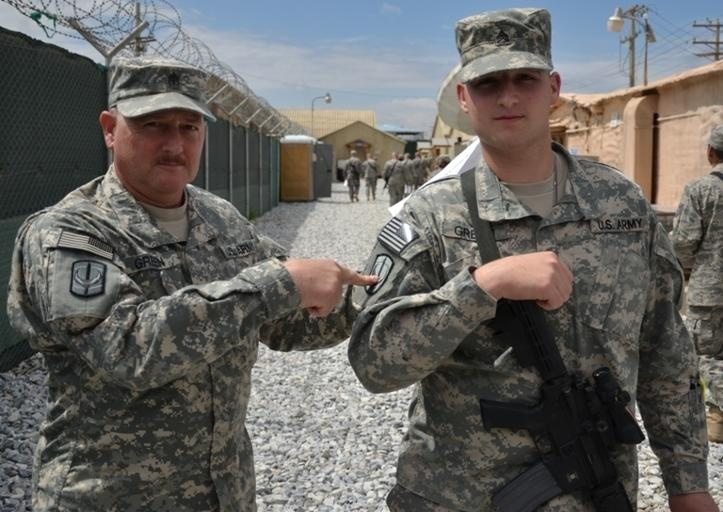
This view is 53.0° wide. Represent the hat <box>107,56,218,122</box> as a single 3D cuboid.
[{"bbox_3d":[-0.850,-0.726,3.104,0.464,0.255,0.543,-8,13,-44],"label":"hat"}]

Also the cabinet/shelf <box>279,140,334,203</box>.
[{"bbox_3d":[-1.948,-2.753,23.542,1.887,2.278,2.536,0,8,3],"label":"cabinet/shelf"}]

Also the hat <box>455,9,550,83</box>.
[{"bbox_3d":[0.531,-0.792,2.716,0.352,0.262,0.237,-2,11,11],"label":"hat"}]
